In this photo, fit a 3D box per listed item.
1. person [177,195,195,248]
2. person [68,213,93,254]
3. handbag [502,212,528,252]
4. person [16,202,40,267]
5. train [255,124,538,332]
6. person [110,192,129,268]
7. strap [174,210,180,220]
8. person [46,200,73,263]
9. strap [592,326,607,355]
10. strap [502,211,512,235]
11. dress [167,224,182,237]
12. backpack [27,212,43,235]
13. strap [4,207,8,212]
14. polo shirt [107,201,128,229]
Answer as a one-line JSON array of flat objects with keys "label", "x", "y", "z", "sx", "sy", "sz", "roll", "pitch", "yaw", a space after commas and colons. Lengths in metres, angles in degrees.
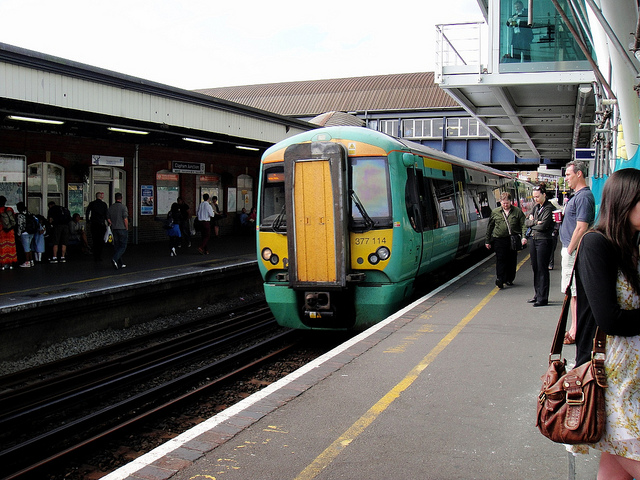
[{"label": "person", "x": -5.451, "y": -0.617, "z": 18.115, "sx": 0.788, "sy": 2.181, "sz": 0.630, "roll": -11, "pitch": -12, "yaw": 12}, {"label": "person", "x": -8.776, "y": -0.248, "z": 16.665, "sx": 0.696, "sy": 1.479, "sz": 1.609, "roll": -3, "pitch": 6, "yaw": -27}, {"label": "handbag", "x": 4.209, "y": -0.199, "z": 9.894, "sx": 0.132, "sy": 1.107, "sz": 0.609, "roll": -22, "pitch": 4, "yaw": 33}, {"label": "person", "x": -8.911, "y": -0.159, "z": 13.985, "sx": 0.683, "sy": 2.033, "sz": 0.570, "roll": 0, "pitch": 0, "yaw": -43}, {"label": "train", "x": 3.767, "y": -0.885, "z": 15.146, "sx": 3.110, "sy": 4.083, "sz": 15.702, "roll": -2, "pitch": 5, "yaw": 30}, {"label": "person", "x": -6.045, "y": -0.321, "z": 13.684, "sx": 0.517, "sy": 2.209, "sz": 0.974, "roll": -3, "pitch": 5, "yaw": -25}, {"label": "strap", "x": -5.359, "y": -0.950, "z": 16.991, "sx": 0.297, "sy": 0.290, "sz": 0.074, "roll": 37, "pitch": 3, "yaw": 42}, {"label": "person", "x": -8.424, "y": -0.233, "z": 14.679, "sx": 0.732, "sy": 1.824, "sz": 0.495, "roll": 2, "pitch": 5, "yaw": 24}, {"label": "strap", "x": 1.392, "y": 0.503, "z": 2.265, "sx": 0.034, "sy": 0.119, "sz": 0.069, "roll": 4, "pitch": -3, "yaw": 37}, {"label": "strap", "x": 4.119, "y": -0.397, "z": 10.025, "sx": 0.083, "sy": 0.618, "sz": 0.037, "roll": -26, "pitch": -37, "yaw": 18}, {"label": "dress", "x": -5.315, "y": -0.349, "z": 16.739, "sx": 0.336, "sy": 0.494, "sz": 0.172, "roll": 3, "pitch": 7, "yaw": 5}, {"label": "backpack", "x": -8.754, "y": -0.497, "z": 13.944, "sx": 0.387, "sy": 0.763, "sz": 0.511, "roll": -19, "pitch": 19, "yaw": -25}, {"label": "strap", "x": -8.750, "y": -0.866, "z": 12.668, "sx": 0.073, "sy": 0.044, "sz": 0.300, "roll": 16, "pitch": 15, "yaw": -16}, {"label": "polo shirt", "x": -6.002, "y": -0.758, "z": 13.514, "sx": 0.463, "sy": 0.819, "sz": 0.332, "roll": -4, "pitch": 6, "yaw": -33}]
